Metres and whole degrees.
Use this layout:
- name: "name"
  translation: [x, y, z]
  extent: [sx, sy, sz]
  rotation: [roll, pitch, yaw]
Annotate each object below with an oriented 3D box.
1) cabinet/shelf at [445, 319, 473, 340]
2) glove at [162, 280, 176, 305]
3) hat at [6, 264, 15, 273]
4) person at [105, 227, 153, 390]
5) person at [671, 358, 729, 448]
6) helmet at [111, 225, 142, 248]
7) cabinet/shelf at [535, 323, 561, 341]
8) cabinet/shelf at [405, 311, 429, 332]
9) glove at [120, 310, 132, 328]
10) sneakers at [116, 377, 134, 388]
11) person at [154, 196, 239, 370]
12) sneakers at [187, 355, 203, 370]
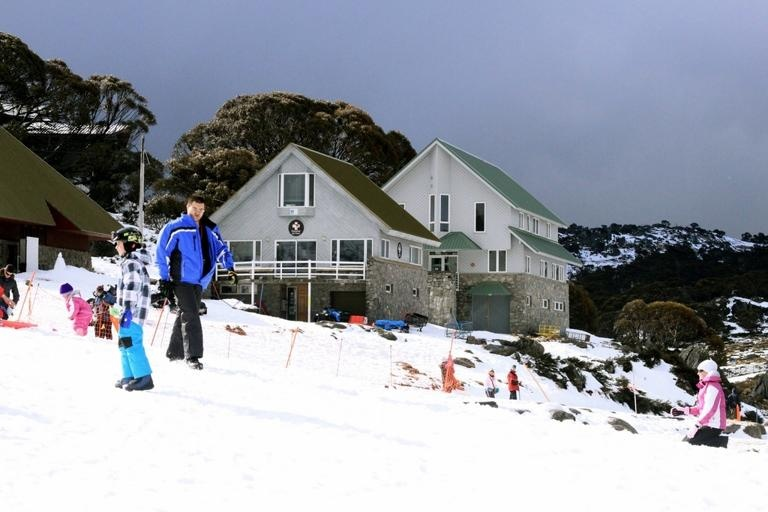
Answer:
- name: "cabinet/shelf"
  translation: [4.488, 4.635, 46.032]
  extent: [1.070, 1.181, 2.106]
  rotation: [2, 2, 16]
- name: "glove"
  translation: [-4.240, 0.739, 15.110]
  extent: [0.124, 0.399, 0.258]
  rotation: [-12, 11, -31]
- name: "hat"
  translation: [-12.467, 0.415, 25.484]
  extent: [0.268, 0.307, 0.160]
  rotation: [2, -26, 20]
- name: "person"
  translation: [-4.604, 0.993, 14.013]
  extent: [0.903, 3.051, 0.590]
  rotation: [6, 0, 25]
- name: "person"
  translation: [6.306, 2.898, 14.996]
  extent: [0.929, 1.701, 2.479]
  rotation: [6, 0, 24]
- name: "helmet"
  translation: [-4.777, -0.373, 14.294]
  extent: [0.484, 0.434, 0.392]
  rotation: [-24, 12, -12]
- name: "cabinet/shelf"
  translation: [11.219, 5.130, 51.841]
  extent: [1.513, 0.960, 8.370]
  rotation: [7, 0, 12]
- name: "cabinet/shelf"
  translation: [1.761, 3.648, 42.746]
  extent: [0.769, 1.065, 1.014]
  rotation: [7, -20, 14]
- name: "glove"
  translation: [-4.639, 1.149, 13.767]
  extent: [0.204, 0.306, 0.103]
  rotation: [5, 4, 12]
- name: "sneakers"
  translation: [-4.774, 2.360, 14.050]
  extent: [0.155, 0.209, 0.434]
  rotation: [-4, -7, 43]
- name: "person"
  translation: [-3.899, 0.555, 15.304]
  extent: [1.363, 3.500, 0.541]
  rotation: [6, 0, -28]
- name: "sneakers"
  translation: [-3.804, 2.205, 15.599]
  extent: [0.382, 0.296, 0.192]
  rotation: [-4, -4, 43]
